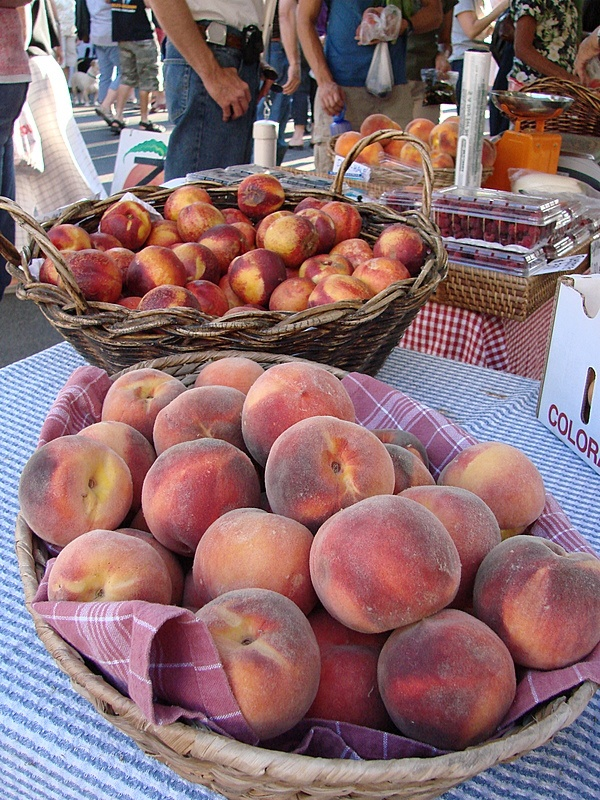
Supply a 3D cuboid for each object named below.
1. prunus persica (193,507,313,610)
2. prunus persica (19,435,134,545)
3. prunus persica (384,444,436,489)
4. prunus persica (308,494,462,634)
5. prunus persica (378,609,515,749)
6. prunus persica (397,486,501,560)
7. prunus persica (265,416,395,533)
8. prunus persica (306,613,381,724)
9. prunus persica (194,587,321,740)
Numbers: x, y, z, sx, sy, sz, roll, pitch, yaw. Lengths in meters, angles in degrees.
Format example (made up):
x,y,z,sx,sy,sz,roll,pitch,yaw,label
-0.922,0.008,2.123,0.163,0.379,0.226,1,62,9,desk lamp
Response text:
x,y,z,sx,sy,sz,roll,pitch,yaw,label
-0.042,0.132,0.609,0.093,0.089,0.089,6,13,17,prunus persica
-0.224,0.091,0.713,0.108,0.111,0.114,-3,-2,-5,prunus persica
0.113,0.075,0.702,0.039,0.028,0.050,6,35,-32,prunus persica
0.066,0.139,0.582,0.114,0.092,0.107,-32,50,13,prunus persica
0.108,0.205,0.492,0.077,0.099,0.081,29,57,-14,prunus persica
0.145,0.103,0.637,0.087,0.055,0.067,17,9,43,prunus persica
0.020,0.068,0.612,0.106,0.105,0.104,-4,-12,-5,prunus persica
0.036,0.219,0.539,0.054,0.039,0.070,-9,10,-5,prunus persica
-0.025,0.193,0.500,0.083,0.066,0.099,-10,29,-23,prunus persica
